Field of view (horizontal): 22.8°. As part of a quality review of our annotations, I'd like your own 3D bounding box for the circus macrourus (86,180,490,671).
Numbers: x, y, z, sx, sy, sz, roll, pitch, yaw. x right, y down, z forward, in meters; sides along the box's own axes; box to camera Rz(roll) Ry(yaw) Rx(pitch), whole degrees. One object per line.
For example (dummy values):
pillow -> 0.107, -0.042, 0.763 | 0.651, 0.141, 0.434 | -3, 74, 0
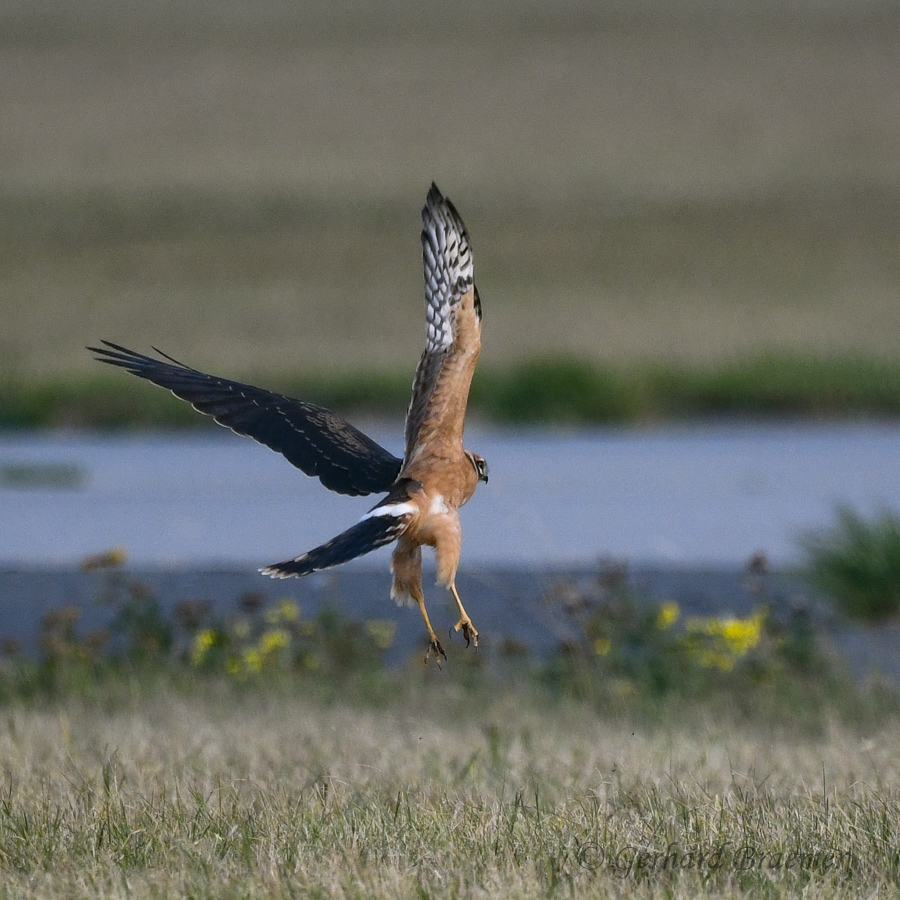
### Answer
circus macrourus -> -0.678, -0.052, 8.932 | 0.934, 1.523, 1.147 | -7, 64, -40
